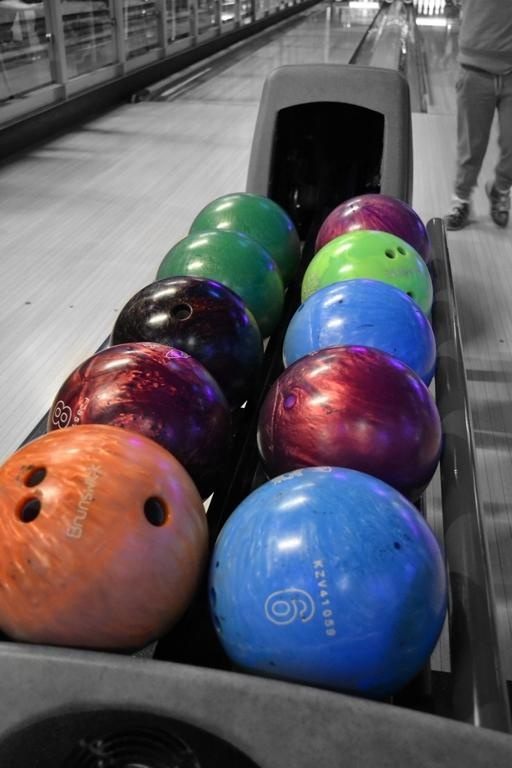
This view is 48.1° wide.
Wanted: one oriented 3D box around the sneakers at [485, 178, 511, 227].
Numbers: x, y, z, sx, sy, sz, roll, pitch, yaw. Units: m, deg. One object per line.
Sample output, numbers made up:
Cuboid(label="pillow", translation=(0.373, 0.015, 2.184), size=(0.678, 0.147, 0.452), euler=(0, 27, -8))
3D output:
Cuboid(label="sneakers", translation=(1.418, -1.045, 3.336), size=(0.094, 0.331, 0.122), euler=(-2, 22, 15))
